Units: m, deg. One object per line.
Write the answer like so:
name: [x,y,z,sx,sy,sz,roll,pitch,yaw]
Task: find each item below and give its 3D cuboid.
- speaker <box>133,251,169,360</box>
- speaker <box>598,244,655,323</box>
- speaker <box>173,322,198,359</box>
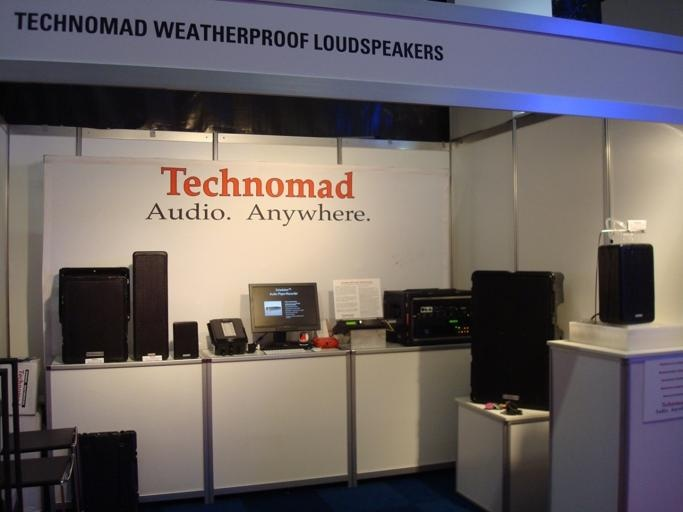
speaker: [-1.393,0.338,4.900,0.308,0.921,0.322,0,22,-16]
speaker: [1.734,0.164,3.958,0.288,0.496,0.289,-1,-1,3]
speaker: [-1.150,0.624,4.824,0.233,0.364,0.187,0,1,-14]
